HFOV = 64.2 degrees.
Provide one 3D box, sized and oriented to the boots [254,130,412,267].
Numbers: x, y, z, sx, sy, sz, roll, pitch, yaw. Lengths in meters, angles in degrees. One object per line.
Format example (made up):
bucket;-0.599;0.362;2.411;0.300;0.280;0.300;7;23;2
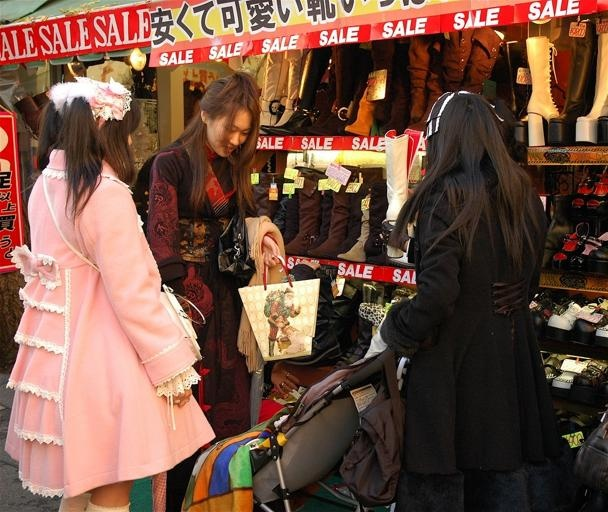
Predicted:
boots;0.210;-0.400;3.516;0.812;0.609;0.446;10;17;40

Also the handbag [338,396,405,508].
handbag;0.266;0.605;2.015;0.261;0.620;0.531;2;-5;10
